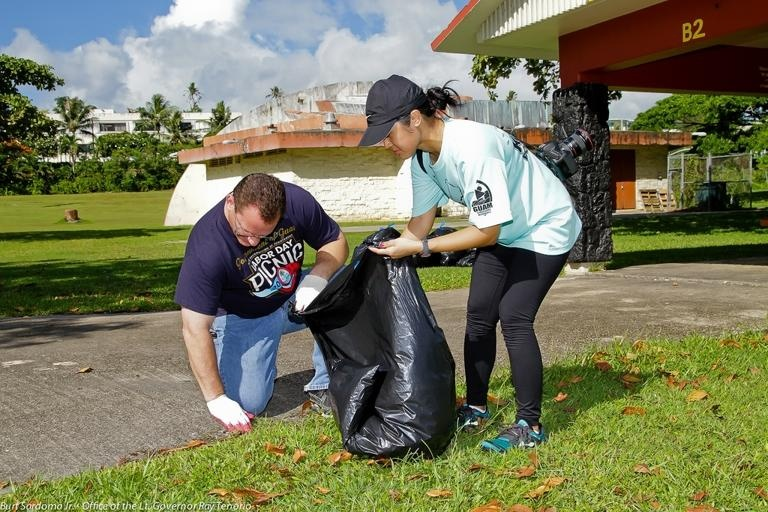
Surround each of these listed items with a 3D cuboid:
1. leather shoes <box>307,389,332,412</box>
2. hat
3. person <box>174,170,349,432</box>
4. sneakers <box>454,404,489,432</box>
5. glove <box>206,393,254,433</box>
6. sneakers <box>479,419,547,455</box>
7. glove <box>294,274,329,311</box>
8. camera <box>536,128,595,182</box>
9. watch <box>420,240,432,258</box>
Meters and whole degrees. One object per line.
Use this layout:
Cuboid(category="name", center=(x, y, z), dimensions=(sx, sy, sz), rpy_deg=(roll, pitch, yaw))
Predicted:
Cuboid(category="leather shoes", center=(-0.522, 1.226, 5.141), dimensions=(0.088, 0.190, 0.244), rpy_deg=(-27, 28, -6))
Cuboid(category="hat", center=(0.025, -1.057, 4.318), dimensions=(0.606, 0.340, 0.414), rpy_deg=(-36, 24, -25))
Cuboid(category="person", center=(-1.037, 0.314, 5.177), dimensions=(1.339, 1.999, 1.013), rpy_deg=(-7, 11, -22))
Cuboid(category="sneakers", center=(0.650, 1.229, 4.700), dimensions=(0.268, 0.137, 0.132), rpy_deg=(4, -4, -42))
Cuboid(category="glove", center=(-1.199, 1.246, 4.829), dimensions=(0.352, 0.297, 0.126), rpy_deg=(2, 11, 26))
Cuboid(category="sneakers", center=(0.913, 1.272, 4.402), dimensions=(0.458, 0.205, 0.183), rpy_deg=(-3, -9, -16))
Cuboid(category="glove", center=(-0.608, 0.298, 5.131), dimensions=(0.184, 0.111, 0.337), rpy_deg=(4, 49, 29))
Cuboid(category="camera", center=(1.391, -0.818, 4.814), dimensions=(0.388, 0.228, 0.365), rpy_deg=(-34, 29, -6))
Cuboid(category="watch", center=(0.280, -0.047, 4.330), dimensions=(0.084, 0.101, 0.107), rpy_deg=(1, -27, 0))
